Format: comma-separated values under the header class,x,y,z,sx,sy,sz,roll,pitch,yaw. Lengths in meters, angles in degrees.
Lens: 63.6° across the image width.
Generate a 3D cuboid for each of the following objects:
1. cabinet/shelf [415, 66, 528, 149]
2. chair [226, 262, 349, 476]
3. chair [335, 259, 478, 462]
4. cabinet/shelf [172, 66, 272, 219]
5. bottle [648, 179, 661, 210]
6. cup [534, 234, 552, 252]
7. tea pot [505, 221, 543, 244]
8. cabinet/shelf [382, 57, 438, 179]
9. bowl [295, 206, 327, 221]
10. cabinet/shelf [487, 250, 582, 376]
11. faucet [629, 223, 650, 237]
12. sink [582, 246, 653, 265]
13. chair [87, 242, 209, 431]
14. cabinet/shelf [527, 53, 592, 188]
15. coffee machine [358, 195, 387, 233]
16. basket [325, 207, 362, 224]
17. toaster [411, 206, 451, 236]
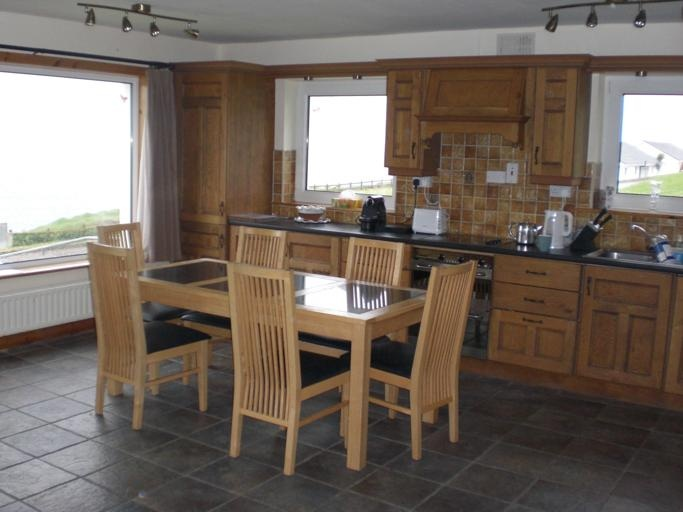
class,x,y,z,sx,sy,sz,roll,pitch,yaw
cabinet/shelf,1.174,-1.450,5.200,1.050,0.650,0.464,-3,36,-7
chair,-0.319,0.618,3.384,0.617,1.186,0.602,9,13,29
chair,0.494,0.610,3.540,0.576,1.207,0.604,6,12,20
cabinet/shelf,-1.254,-1.261,6.182,1.080,1.585,0.542,-1,12,-15
bottle,2.822,-0.549,4.998,0.093,0.273,0.102,2,12,0
cup,1.737,-0.098,4.784,0.159,0.114,0.121,-1,3,-28
tea pot,1.673,-0.207,5.151,0.323,0.199,0.179,-1,7,-2
cabinet/shelf,0.835,-1.363,5.550,0.696,1.010,0.640,0,17,2
bowl,-0.319,-0.482,6.159,0.273,0.152,0.363,3,11,4
cabinet/shelf,1.888,0.483,5.111,0.943,1.210,0.970,5,5,33
faucet,2.600,-0.213,4.820,0.180,0.102,0.256,7,12,25
sink,2.437,-0.005,4.801,0.331,0.109,0.264,8,14,38
chair,-1.329,0.525,3.951,0.610,1.089,0.680,4,3,34
cabinet/shelf,2.105,-1.177,4.982,0.528,1.073,0.515,-6,15,-15
coffee machine,0.316,-0.426,5.587,0.241,0.326,0.345,7,16,17
basket,-0.005,-0.457,6.142,0.421,0.162,0.184,7,12,25
toaster,0.857,-0.316,5.563,0.480,0.347,0.261,2,1,35
